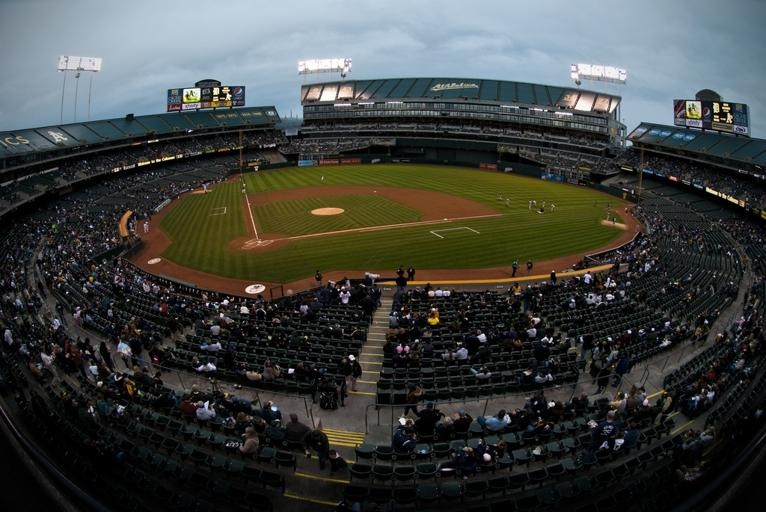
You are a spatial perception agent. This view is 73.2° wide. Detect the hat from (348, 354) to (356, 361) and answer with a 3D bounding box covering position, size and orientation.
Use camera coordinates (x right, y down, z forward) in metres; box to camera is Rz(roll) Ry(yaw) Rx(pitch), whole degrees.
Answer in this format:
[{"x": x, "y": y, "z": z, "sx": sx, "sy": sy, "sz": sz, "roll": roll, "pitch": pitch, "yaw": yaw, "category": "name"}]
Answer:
[{"x": -1.246, "y": 4.169, "z": 21.049, "sx": 0.283, "sy": 0.130, "sz": 0.396, "roll": 1, "pitch": 3, "yaw": -5, "category": "hat"}]
